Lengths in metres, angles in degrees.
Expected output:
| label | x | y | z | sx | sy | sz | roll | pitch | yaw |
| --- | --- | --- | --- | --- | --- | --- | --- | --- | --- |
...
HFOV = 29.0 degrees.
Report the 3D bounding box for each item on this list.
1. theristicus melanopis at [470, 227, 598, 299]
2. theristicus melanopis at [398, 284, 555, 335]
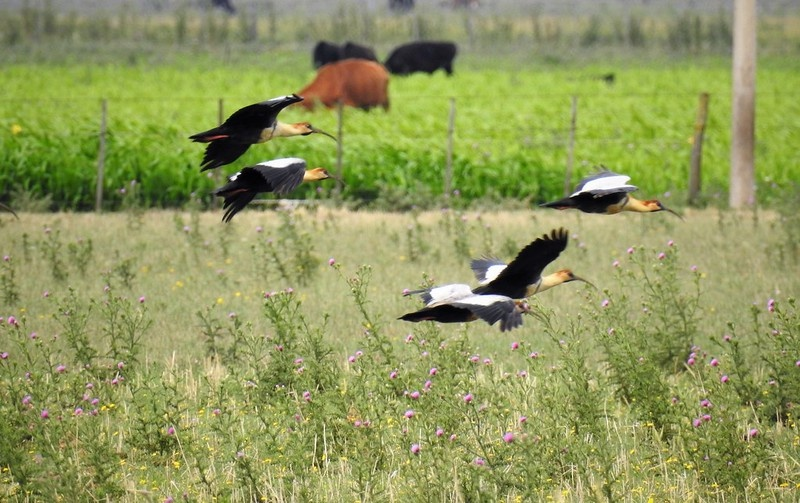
| label | x | y | z | sx | sy | sz | roll | pitch | yaw |
| --- | --- | --- | --- | --- | --- | --- | --- | --- | --- |
| theristicus melanopis | 1.532 | 0.116 | 19.085 | 1.283 | 0.880 | 0.664 | 1 | 9 | 14 |
| theristicus melanopis | 0.807 | 0.651 | 18.709 | 1.387 | 0.453 | 0.470 | 1 | 9 | 17 |
